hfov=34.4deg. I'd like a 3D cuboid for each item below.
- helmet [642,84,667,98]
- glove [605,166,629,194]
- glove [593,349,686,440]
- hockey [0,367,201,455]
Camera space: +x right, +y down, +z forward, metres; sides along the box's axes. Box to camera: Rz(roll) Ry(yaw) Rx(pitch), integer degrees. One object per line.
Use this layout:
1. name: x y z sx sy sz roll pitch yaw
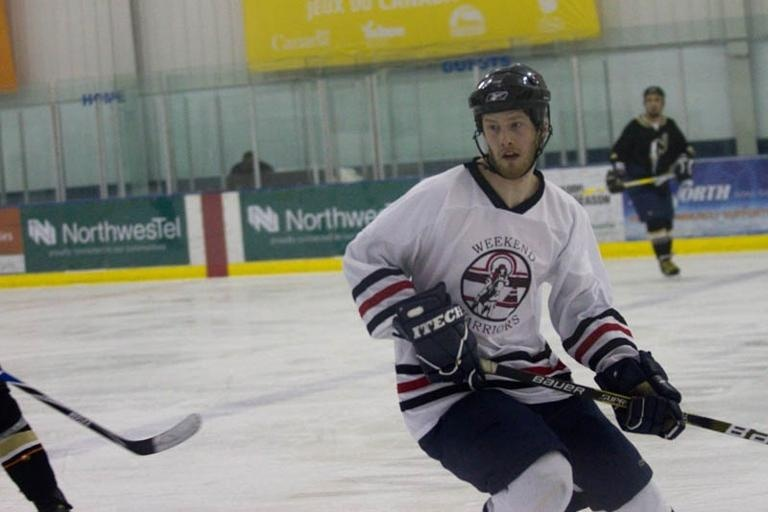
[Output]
1. helmet: 2.770 -1.676 12.836 0.211 0.141 0.261 2 2 7
2. glove: 2.399 -0.788 12.993 0.184 0.248 0.090 1 6 18
3. glove: 1.646 0.945 8.300 0.285 0.481 0.610 -41 33 25
4. hockey: -2.147 1.204 9.463 1.289 0.160 0.216 22 -1 14
